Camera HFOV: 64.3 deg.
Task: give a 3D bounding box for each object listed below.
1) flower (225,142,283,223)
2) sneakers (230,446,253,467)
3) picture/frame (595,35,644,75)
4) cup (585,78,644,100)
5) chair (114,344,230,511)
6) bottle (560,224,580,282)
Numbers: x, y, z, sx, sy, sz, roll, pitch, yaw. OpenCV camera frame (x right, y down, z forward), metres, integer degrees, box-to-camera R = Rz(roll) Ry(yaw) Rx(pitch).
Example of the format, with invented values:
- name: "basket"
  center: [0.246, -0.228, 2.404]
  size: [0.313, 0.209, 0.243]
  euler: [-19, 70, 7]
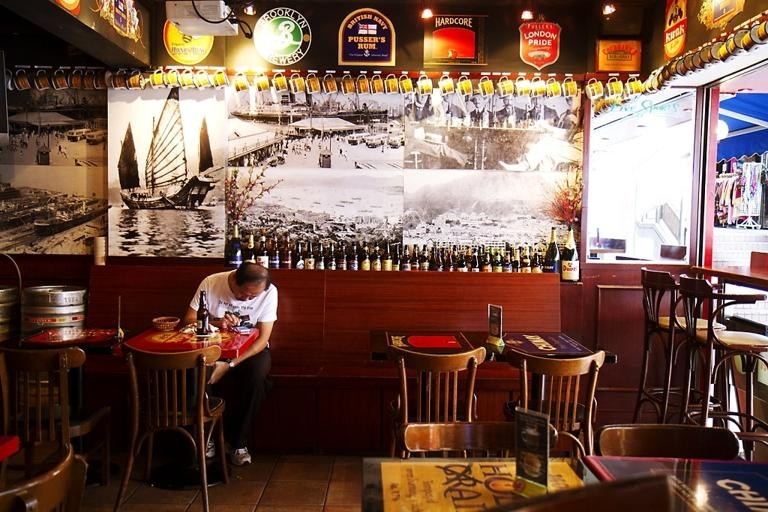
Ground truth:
- name: "flower"
  center: [-1.480, -0.812, 6.783]
  size: [0.977, 0.684, 0.323]
  euler: [-10, 20, -4]
- name: "sneakers"
  center: [-1.246, 1.754, 5.374]
  size: [0.244, 0.102, 0.097]
  euler: [1, 1, -4]
- name: "picture/frame"
  center: [2.379, -2.038, 6.187]
  size: [0.411, 0.295, 0.056]
  euler: [1, 2, -1]
- name: "cup"
  center: [2.305, -1.672, 6.108]
  size: [0.535, 0.225, 0.248]
  euler: [4, 5, 26]
- name: "chair"
  center: [-1.724, 1.299, 5.017]
  size: [0.852, 1.314, 1.041]
  euler: [0, 4, -14]
- name: "bottle"
  center: [1.907, -0.019, 6.272]
  size: [0.204, 0.545, 0.270]
  euler: [3, 4, 16]
